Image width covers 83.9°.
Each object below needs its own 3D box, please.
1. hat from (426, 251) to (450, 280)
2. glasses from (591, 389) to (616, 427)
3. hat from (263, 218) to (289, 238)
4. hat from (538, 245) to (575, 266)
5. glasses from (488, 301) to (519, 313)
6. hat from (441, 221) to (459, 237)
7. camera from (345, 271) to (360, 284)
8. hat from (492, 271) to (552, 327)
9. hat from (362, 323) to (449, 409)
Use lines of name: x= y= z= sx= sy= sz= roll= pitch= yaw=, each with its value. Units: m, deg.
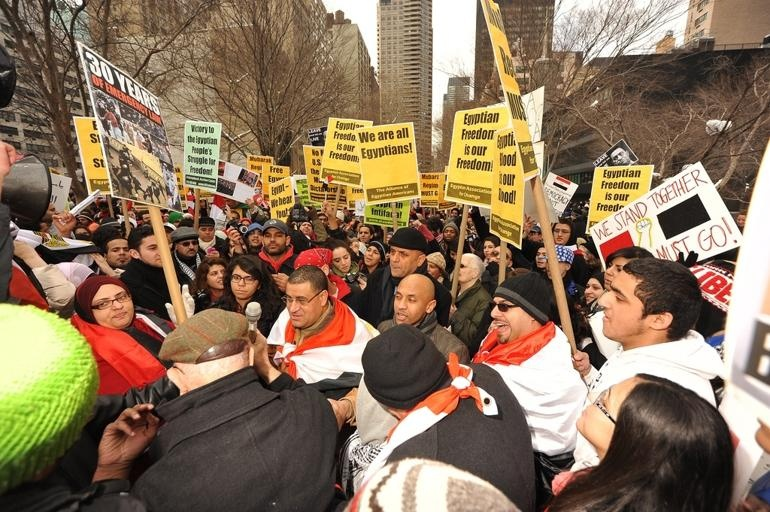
hat: x=0.814 y=0.150 z=6.336 sx=0.391 sy=0.255 sz=0.367 roll=14 pitch=1 yaw=-7
glasses: x=1.171 y=0.807 z=2.294 sx=0.125 sy=0.037 sz=0.123 roll=38 pitch=17 yaw=1
hat: x=-1.770 y=-0.411 z=7.040 sx=0.251 sy=0.333 sz=0.336 roll=0 pitch=33 yaw=1
hat: x=2.253 y=0.011 z=5.597 sx=0.523 sy=0.166 sz=0.314 roll=4 pitch=-1 yaw=-29
glasses: x=1.049 y=0.444 z=3.732 sx=0.158 sy=0.049 sz=0.150 roll=12 pitch=-13 yaw=-29
hat: x=1.666 y=-0.637 z=10.814 sx=0.306 sy=0.338 sz=0.410 roll=6 pitch=-11 yaw=19
camera: x=-0.477 y=0.333 z=6.589 sx=0.146 sy=0.144 sz=0.168 roll=15 pitch=37 yaw=15
hat: x=1.267 y=0.362 z=3.833 sx=0.449 sy=0.403 sz=0.438 roll=35 pitch=-13 yaw=-11
hat: x=0.073 y=0.667 z=2.689 sx=0.446 sy=0.357 sz=0.628 roll=14 pitch=9 yaw=37
